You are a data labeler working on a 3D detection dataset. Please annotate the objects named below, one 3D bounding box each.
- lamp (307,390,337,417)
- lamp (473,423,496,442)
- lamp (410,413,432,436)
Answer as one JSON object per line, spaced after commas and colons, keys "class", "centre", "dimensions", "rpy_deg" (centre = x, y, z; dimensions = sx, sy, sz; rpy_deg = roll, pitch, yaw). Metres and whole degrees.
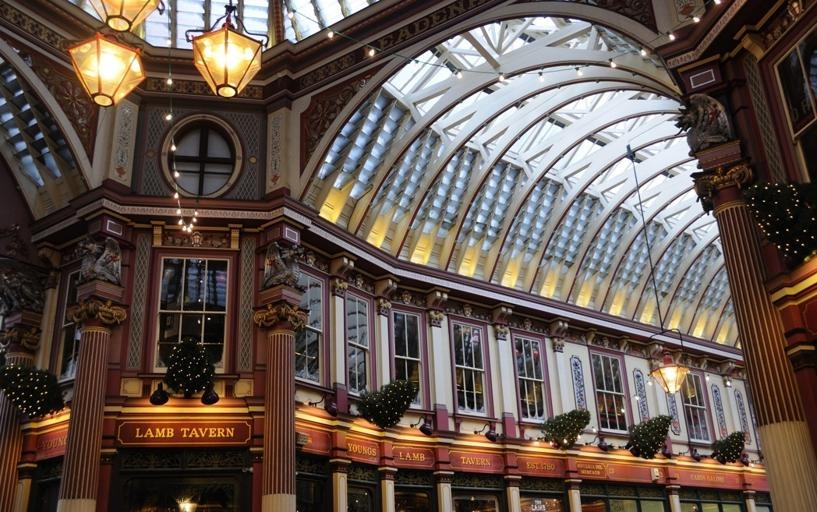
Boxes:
{"class": "lamp", "centre": [-2.194, 3.968, 17.823], "dimensions": [0.729, 0.724, 0.490], "rpy_deg": [-9, -18, 15]}
{"class": "lamp", "centre": [2.484, 5.474, 20.870], "dimensions": [0.923, 0.563, 0.250], "rpy_deg": [17, -32, -31]}
{"class": "lamp", "centre": [0.493, 4.986, 19.748], "dimensions": [0.754, 0.571, 0.362], "rpy_deg": [16, -32, -31]}
